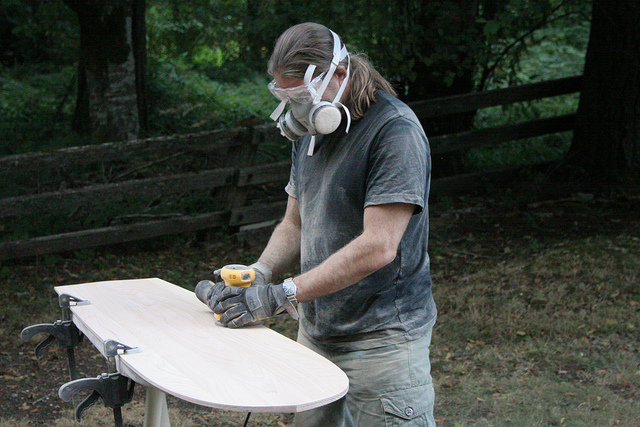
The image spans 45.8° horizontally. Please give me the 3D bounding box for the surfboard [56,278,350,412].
[{"bbox_3d":[-1.063,1.105,6.490,1.065,0.310,2.698,-11,22,-37],"label":"surfboard"}]

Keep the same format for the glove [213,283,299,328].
[{"bbox_3d":[-0.525,0.817,6.615,0.554,0.377,0.226,-13,-21,10],"label":"glove"}]
